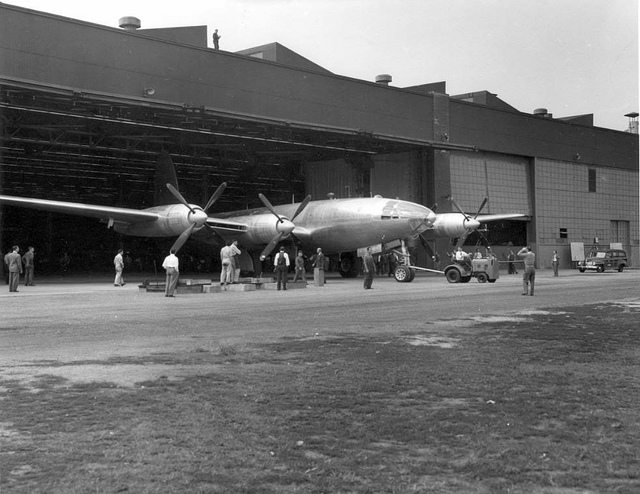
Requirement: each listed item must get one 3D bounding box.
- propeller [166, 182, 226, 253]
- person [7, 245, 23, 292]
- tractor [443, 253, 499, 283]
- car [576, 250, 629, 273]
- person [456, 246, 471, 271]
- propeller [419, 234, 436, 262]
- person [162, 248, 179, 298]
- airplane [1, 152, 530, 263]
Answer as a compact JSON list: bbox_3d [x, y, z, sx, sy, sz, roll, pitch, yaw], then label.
[{"bbox_3d":[-5.633,-1.326,29.161,1.051,1.049,3.750,-1,28,43],"label":"propeller"},{"bbox_3d":[-11.653,0.792,25.249,0.463,1.664,2.276,-1,4,-25],"label":"person"},{"bbox_3d":[6.977,0.958,30.505,1.889,1.327,1.237,-2,0,7],"label":"tractor"},{"bbox_3d":[19.136,0.993,45.006,3.018,1.467,1.777,4,-8,-30],"label":"car"},{"bbox_3d":[6.723,0.644,31.170,0.674,0.826,1.362,2,4,12],"label":"person"},{"bbox_3d":[6.293,0.048,38.854,0.277,2.105,0.235,-30,-47,4],"label":"propeller"},{"bbox_3d":[-5.095,0.866,22.546,0.456,1.533,1.681,0,4,-14],"label":"person"},{"bbox_3d":[-1.947,-1.686,32.914,19.734,5.691,10.664,0,4,-23],"label":"airplane"}]
